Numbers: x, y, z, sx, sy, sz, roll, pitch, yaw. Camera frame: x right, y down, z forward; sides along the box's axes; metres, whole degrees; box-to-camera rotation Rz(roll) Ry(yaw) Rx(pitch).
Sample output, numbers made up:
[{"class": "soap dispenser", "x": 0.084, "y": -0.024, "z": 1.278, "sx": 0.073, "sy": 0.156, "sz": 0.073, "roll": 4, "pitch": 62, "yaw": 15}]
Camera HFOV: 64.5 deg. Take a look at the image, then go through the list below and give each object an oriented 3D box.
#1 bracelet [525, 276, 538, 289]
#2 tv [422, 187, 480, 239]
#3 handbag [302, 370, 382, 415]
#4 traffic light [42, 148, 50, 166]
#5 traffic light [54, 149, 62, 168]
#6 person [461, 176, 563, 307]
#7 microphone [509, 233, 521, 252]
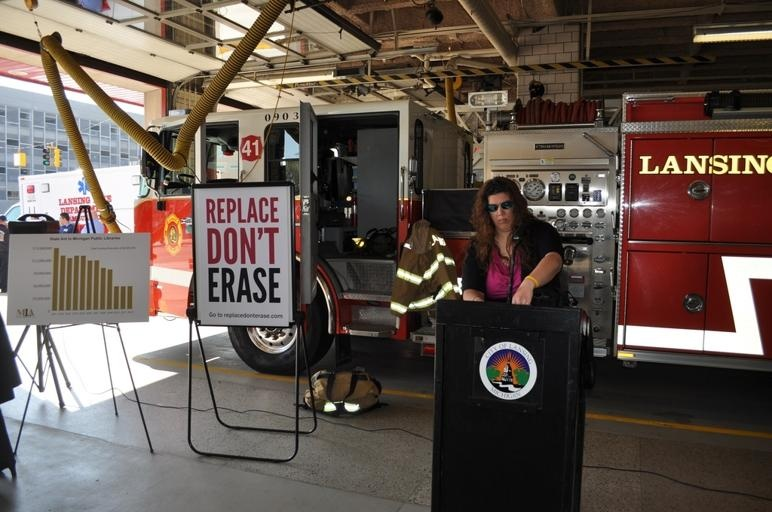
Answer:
[{"class": "bracelet", "x": 1.186, "y": 0.218, "z": 5.094, "sx": 0.106, "sy": 0.089, "sz": 0.140, "roll": 7, "pitch": 14, "yaw": 28}, {"class": "tv", "x": 0.761, "y": -0.575, "z": 7.536, "sx": 0.838, "sy": 0.642, "sz": 0.516, "roll": 3, "pitch": 7, "yaw": 17}, {"class": "handbag", "x": -0.480, "y": 1.482, "z": 6.635, "sx": 0.594, "sy": 0.287, "sz": 0.533, "roll": 1, "pitch": 3, "yaw": -2}, {"class": "traffic light", "x": -11.332, "y": -3.285, "z": 20.228, "sx": 0.157, "sy": 0.550, "sz": 0.783, "roll": -7, "pitch": 14, "yaw": -32}, {"class": "traffic light", "x": -11.350, "y": -3.377, "z": 20.954, "sx": 0.200, "sy": 0.647, "sz": 1.410, "roll": -6, "pitch": 14, "yaw": -29}, {"class": "person", "x": 1.108, "y": -0.083, "z": 5.329, "sx": 0.899, "sy": 1.145, "sz": 0.792, "roll": 4, "pitch": 12, "yaw": 15}, {"class": "microphone", "x": 1.125, "y": -0.126, "z": 5.401, "sx": 0.051, "sy": 0.133, "sz": 0.093, "roll": 12, "pitch": -6, "yaw": -39}]
